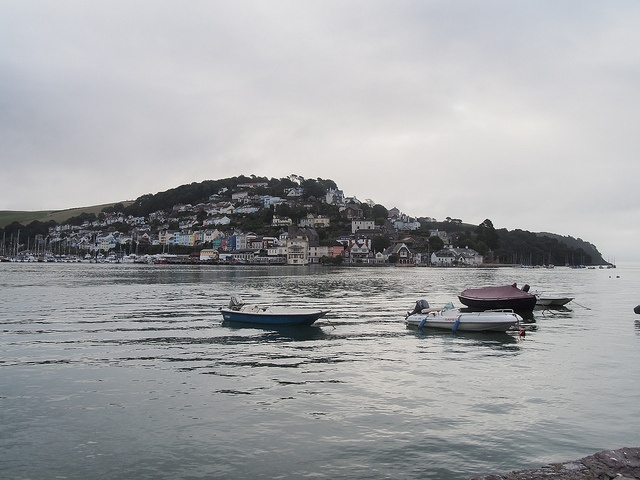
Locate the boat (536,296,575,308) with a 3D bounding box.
[{"bbox_3d":[21.875,5.837,58.415,3.479,0.946,1.524,1,2,6],"label":"boat"}]

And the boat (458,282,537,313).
[{"bbox_3d":[14.526,4.748,50.707,4.564,1.680,2.779,-1,0,6],"label":"boat"}]

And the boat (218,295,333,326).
[{"bbox_3d":[-3.352,5.267,43.800,8.095,1.919,2.750,1,1,14],"label":"boat"}]
